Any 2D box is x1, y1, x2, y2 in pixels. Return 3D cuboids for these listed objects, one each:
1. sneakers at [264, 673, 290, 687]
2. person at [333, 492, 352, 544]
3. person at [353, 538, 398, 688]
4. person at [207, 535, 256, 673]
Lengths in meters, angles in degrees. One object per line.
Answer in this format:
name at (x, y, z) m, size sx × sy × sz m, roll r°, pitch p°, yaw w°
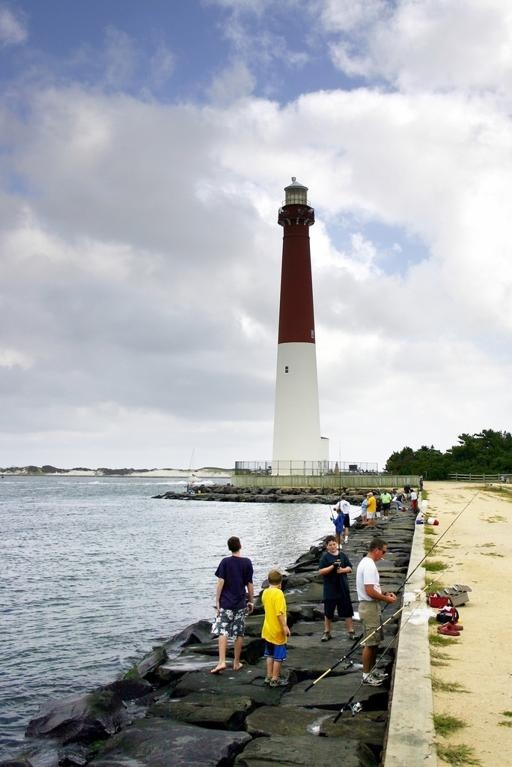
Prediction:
sneakers at (0.234, 3.348, 7.047) m, size 0.194 × 0.086 × 0.111 m, roll 0°, pitch -4°, yaw -4°
person at (2.665, 4.143, 19.392) m, size 0.563 × 1.532 × 0.471 m, roll 2°, pitch -1°, yaw -31°
person at (1.241, 2.381, 6.502) m, size 0.381 × 1.610 × 0.911 m, roll 2°, pitch -6°, yaw 12°
person at (-0.305, 2.762, 7.749) m, size 0.455 × 1.793 × 1.135 m, roll 4°, pitch -6°, yaw -3°
